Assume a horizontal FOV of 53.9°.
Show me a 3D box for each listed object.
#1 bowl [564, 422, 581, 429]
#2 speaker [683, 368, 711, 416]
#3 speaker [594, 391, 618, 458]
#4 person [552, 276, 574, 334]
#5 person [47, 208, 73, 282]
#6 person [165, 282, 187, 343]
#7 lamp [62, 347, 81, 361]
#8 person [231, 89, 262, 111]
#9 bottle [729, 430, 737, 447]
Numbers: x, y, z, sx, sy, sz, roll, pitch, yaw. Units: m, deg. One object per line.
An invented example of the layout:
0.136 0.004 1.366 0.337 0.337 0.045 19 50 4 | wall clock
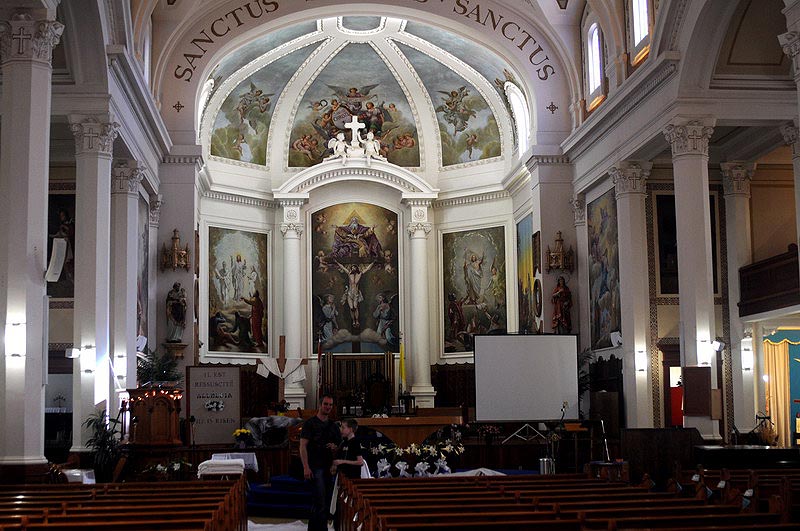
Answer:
4.518 4.258 20.739 0.376 0.190 0.829 -6 -13 15 | bowl
6.245 2.644 16.521 0.288 1.063 0.798 3 -13 -21 | speaker
5.390 4.049 20.282 0.489 1.628 0.375 -2 -1 24 | speaker
4.752 1.122 23.234 0.666 1.646 0.462 -4 -12 11 | person
-9.029 -0.495 20.827 0.610 1.904 0.240 -6 -12 17 | person
-6.555 1.351 23.085 0.603 1.795 0.342 0 -12 -10 | person
-6.985 1.855 16.766 0.267 0.233 0.485 -6 -13 15 | lamp
-5.314 -5.822 27.572 0.743 0.735 0.315 -19 -49 -8 | person
8.371 4.281 19.797 0.216 0.363 1.070 -7 -13 22 | bottle
